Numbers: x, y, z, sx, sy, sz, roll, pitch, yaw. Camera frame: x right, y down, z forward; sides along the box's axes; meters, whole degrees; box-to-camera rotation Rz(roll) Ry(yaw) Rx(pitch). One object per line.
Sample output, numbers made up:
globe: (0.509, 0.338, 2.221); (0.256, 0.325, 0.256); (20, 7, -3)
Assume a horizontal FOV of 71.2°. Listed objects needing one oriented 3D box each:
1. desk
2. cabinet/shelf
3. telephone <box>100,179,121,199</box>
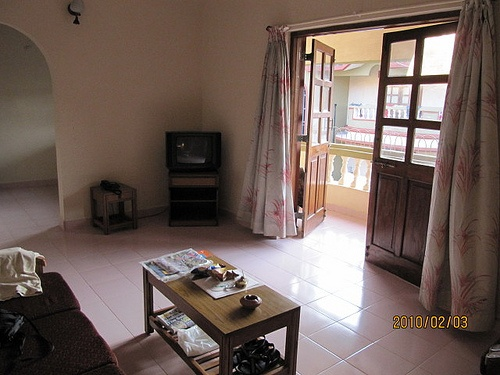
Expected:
desk: (-1.828, 0.253, 4.971); (0.657, 0.735, 0.661); (-12, 22, -39)
cabinet/shelf: (-0.819, 0.165, 5.177); (0.864, 0.861, 0.657); (0, 7, -3)
telephone: (-1.859, 0.016, 4.696); (0.253, 0.159, 0.386); (-5, 16, -23)
